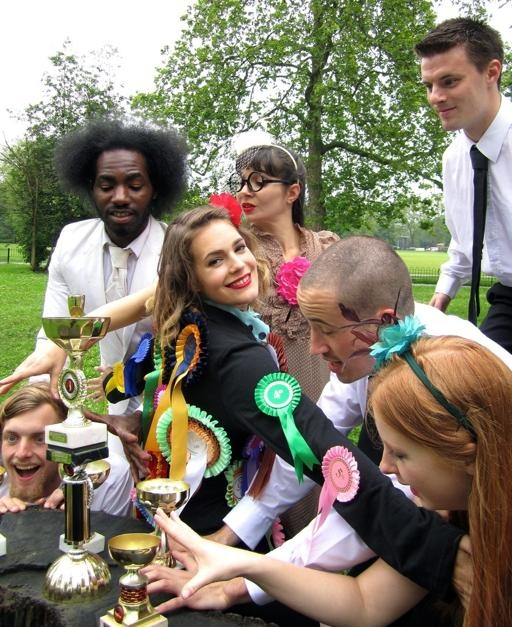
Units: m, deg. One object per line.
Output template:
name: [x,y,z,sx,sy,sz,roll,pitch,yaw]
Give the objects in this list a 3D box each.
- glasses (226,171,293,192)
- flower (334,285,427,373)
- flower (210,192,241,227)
glasses: [0.031,-0.715,3.239,0.204,0.052,0.183,1,1,-29]
flower: [0.355,0.047,1.495,0.153,0.199,0.209,-14,28,1]
flower: [-0.112,-0.391,2.214,0.119,0.127,0.124,0,6,-5]
